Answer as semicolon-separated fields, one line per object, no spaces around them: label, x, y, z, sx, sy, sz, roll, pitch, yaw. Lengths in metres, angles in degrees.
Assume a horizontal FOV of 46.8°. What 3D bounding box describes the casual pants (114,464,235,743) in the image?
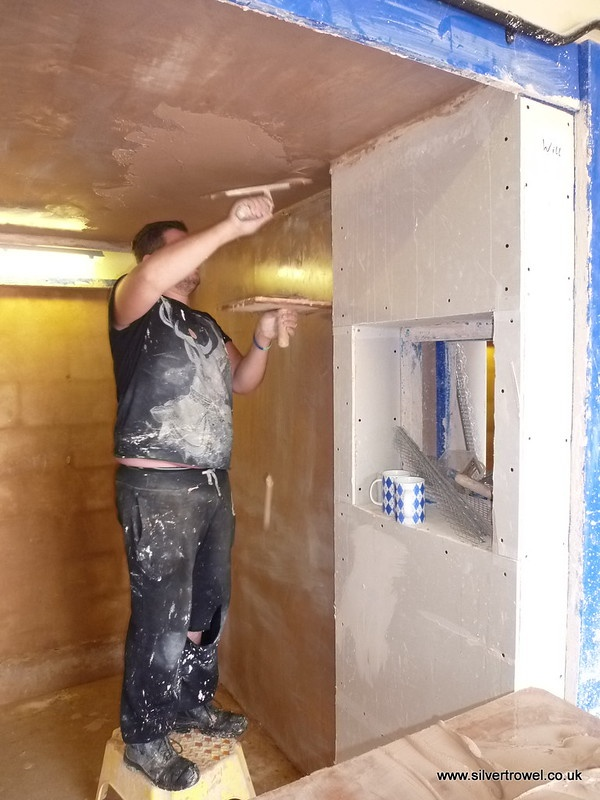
casual pants;-0.331;0.548;1.866;0.200;1.114;0.499;1;1;7

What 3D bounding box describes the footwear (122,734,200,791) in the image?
footwear;-0.349;0.903;1.768;0.226;0.157;0.082;-8;-6;26

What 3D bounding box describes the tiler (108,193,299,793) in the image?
tiler;-0.282;0.238;1.857;0.448;1.599;0.467;4;9;-26

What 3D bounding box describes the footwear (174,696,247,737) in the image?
footwear;-0.252;0.938;2.016;0.262;0.090;0.109;-1;2;-9
